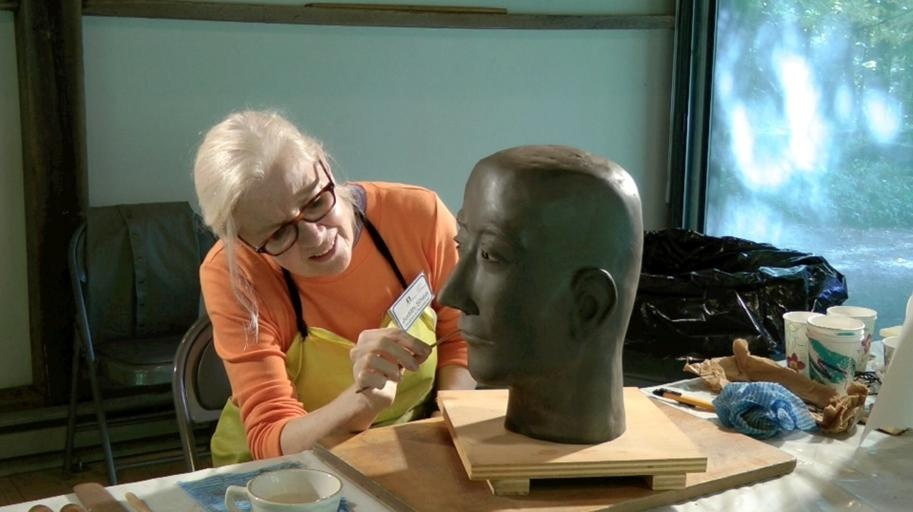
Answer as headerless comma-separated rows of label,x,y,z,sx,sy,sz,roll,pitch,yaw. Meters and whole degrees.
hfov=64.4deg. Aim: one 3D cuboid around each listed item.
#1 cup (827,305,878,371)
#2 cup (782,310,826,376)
cup,1.780,0.329,3.169,0.268,0.284,0.263,-4,10,1
cup,1.460,0.374,3.043,0.177,0.247,0.175,-2,20,1
